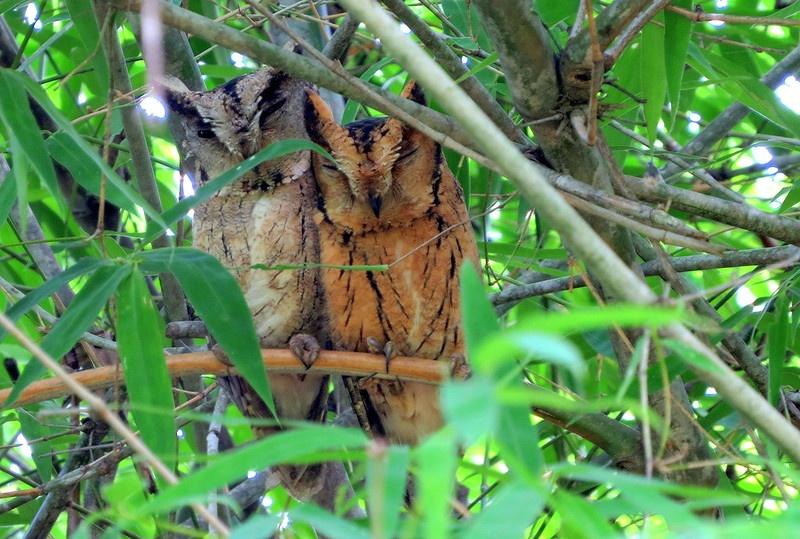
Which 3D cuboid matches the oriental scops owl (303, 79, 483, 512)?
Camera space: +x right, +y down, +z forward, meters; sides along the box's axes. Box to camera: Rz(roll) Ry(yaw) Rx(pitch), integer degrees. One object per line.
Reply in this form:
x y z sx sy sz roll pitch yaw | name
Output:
0.016 0.095 2.313 0.391 1.000 0.606 -13 31 7 | oriental scops owl
